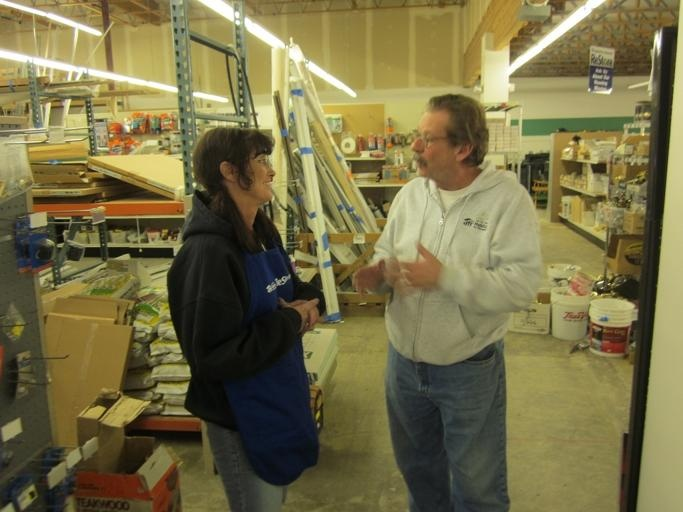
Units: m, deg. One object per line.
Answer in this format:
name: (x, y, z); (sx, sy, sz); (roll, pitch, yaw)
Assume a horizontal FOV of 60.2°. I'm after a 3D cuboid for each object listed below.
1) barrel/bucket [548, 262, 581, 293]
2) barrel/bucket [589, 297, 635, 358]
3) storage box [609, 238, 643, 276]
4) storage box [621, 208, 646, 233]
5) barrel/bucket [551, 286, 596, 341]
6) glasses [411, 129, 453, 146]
barrel/bucket: (2.433, 0.235, 6.480); (0.303, 0.226, 0.321); (-2, 4, 0)
barrel/bucket: (2.321, 0.636, 5.439); (0.489, 0.522, 0.488); (-1, 10, 0)
storage box: (2.660, -0.004, 5.508); (0.330, 0.332, 0.251); (1, 14, 1)
storage box: (2.925, -0.332, 5.916); (0.141, 0.269, 0.442); (1, 12, 19)
barrel/bucket: (2.149, 0.570, 5.801); (0.453, 0.482, 0.452); (0, 6, 0)
glasses: (0.403, -0.548, 2.733); (0.179, 0.053, 0.063); (7, 15, 38)
